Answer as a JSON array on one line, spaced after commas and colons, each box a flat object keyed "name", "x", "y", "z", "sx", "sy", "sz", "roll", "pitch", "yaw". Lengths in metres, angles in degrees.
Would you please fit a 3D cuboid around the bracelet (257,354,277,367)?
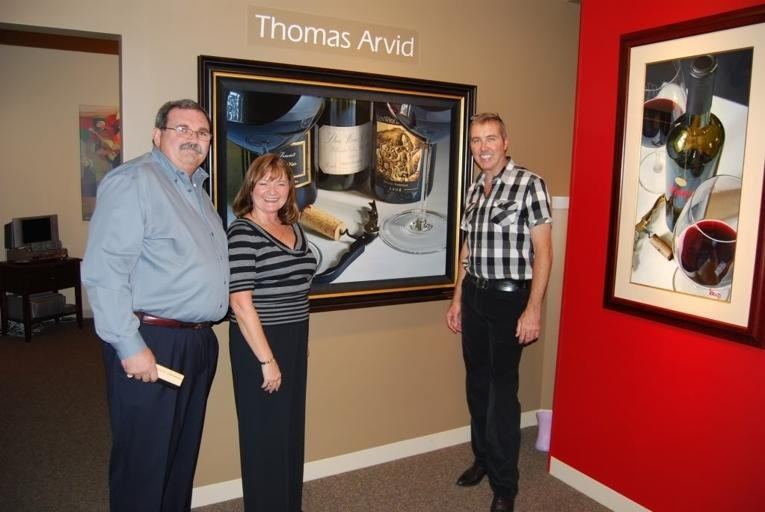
[{"name": "bracelet", "x": -0.688, "y": 0.623, "z": 3.245, "sx": 0.094, "sy": 0.065, "sz": 0.062, "roll": 0, "pitch": 13, "yaw": -10}]

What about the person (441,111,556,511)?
[{"name": "person", "x": 0.768, "y": 0.362, "z": 3.899, "sx": 0.714, "sy": 2.654, "sz": 0.577, "roll": 10, "pitch": 14, "yaw": 35}]

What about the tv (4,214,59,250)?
[{"name": "tv", "x": -4.531, "y": -0.325, "z": 7.044, "sx": 0.355, "sy": 0.551, "sz": 0.715, "roll": 1, "pitch": 7, "yaw": 29}]
